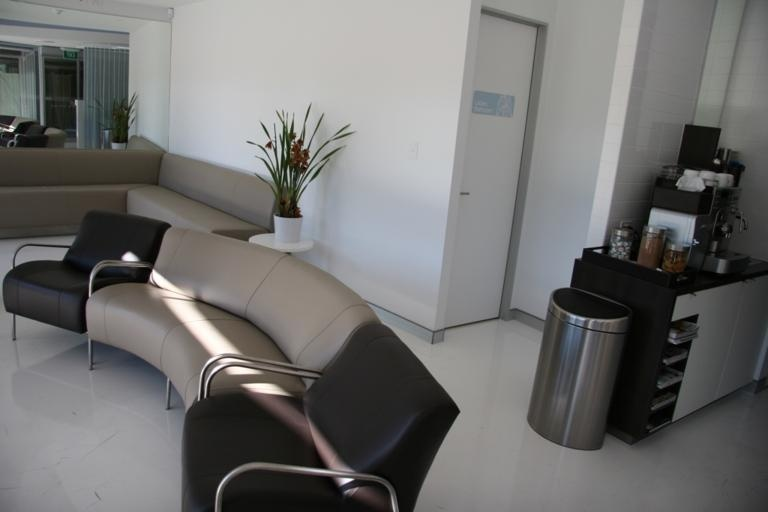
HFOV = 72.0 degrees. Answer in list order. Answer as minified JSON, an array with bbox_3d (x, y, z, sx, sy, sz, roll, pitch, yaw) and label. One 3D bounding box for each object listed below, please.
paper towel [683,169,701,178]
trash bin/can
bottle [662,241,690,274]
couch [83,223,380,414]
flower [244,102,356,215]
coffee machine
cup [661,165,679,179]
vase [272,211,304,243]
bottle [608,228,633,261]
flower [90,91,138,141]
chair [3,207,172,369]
[{"bbox_3d":[2.380,-0.638,4.072,0.089,0.054,0.090,4,24,12],"label":"paper towel"},{"bbox_3d":[1.403,0.871,3.866,0.554,1.025,0.326,13,20,26],"label":"trash bin/can"},{"bbox_3d":[2.104,0.011,3.804,0.203,0.224,0.198,-4,11,-45],"label":"bottle"},{"bbox_3d":[-1.048,0.428,4.050,2.172,0.973,1.241,28,20,28],"label":"couch"},{"bbox_3d":[-1.041,-0.866,5.696,0.767,1.112,1.129,3,-4,32],"label":"flower"},{"bbox_3d":[2.466,-0.265,4.132,0.823,0.790,0.702,-10,15,-37],"label":"coffee machine"},{"bbox_3d":[2.240,-0.648,4.113,0.128,0.095,0.106,12,19,21],"label":"cup"},{"bbox_3d":[-0.986,-0.302,5.534,0.296,0.238,0.271,6,11,4],"label":"vase"},{"bbox_3d":[1.812,-0.098,4.008,0.163,0.218,0.202,3,18,-5],"label":"bottle"},{"bbox_3d":[-4.314,-2.268,8.773,0.805,0.915,0.625,-6,22,-25],"label":"flower"},{"bbox_3d":[-2.693,0.336,4.920,1.366,1.368,1.288,13,19,27],"label":"chair"}]
